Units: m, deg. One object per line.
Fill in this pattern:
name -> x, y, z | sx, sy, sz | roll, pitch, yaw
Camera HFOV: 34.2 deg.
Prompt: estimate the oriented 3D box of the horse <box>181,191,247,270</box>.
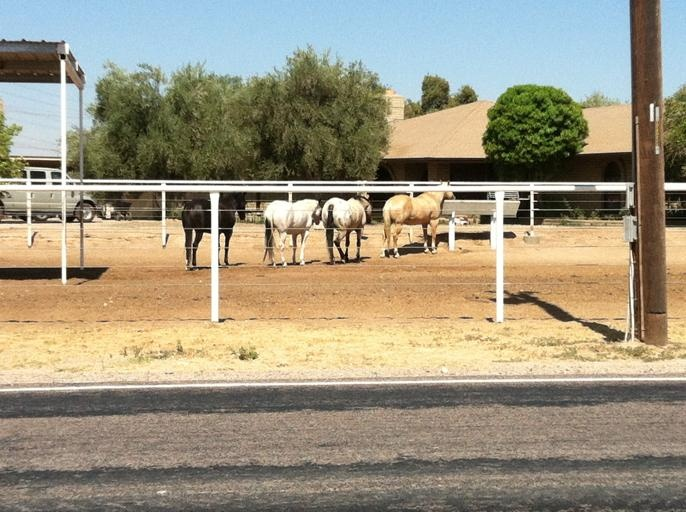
horse -> -3.055, -0.635, 27.075 | 2.291, 1.796, 0.665 | -3, -1, 40
